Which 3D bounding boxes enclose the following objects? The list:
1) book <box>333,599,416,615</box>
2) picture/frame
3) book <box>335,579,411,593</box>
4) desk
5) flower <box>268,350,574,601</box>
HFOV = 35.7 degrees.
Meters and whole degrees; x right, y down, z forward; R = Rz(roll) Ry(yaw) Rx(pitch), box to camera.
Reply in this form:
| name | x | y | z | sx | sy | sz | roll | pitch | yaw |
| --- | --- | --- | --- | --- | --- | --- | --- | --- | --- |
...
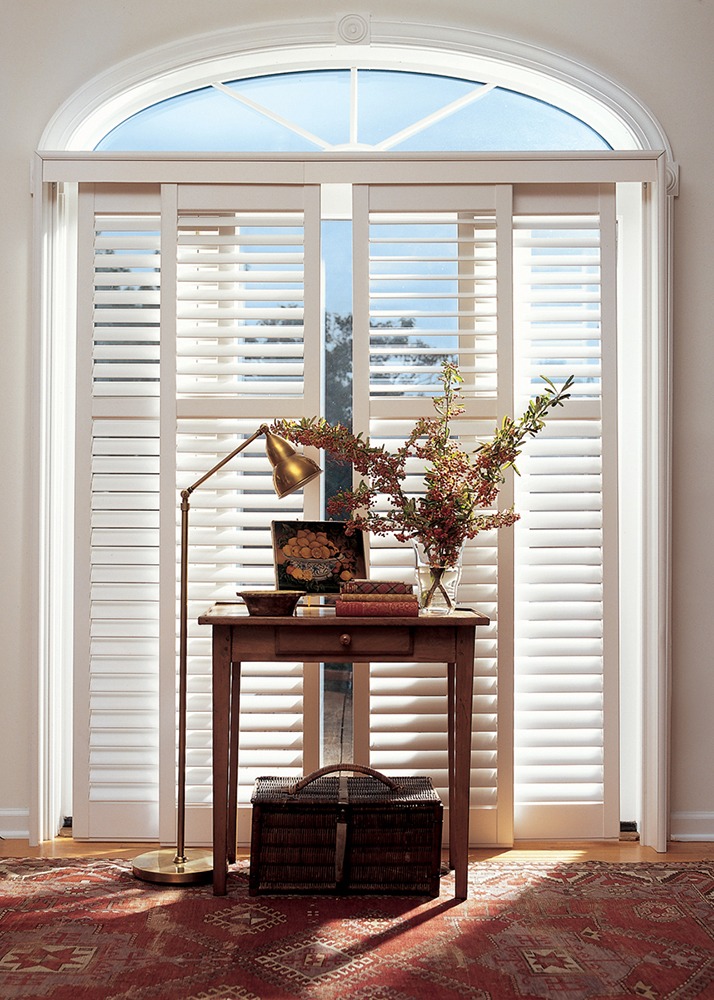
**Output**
| name | x | y | z | sx | sy | sz | roll | pitch | yaw |
| --- | --- | --- | --- | --- | --- | --- | --- | --- | --- |
| book | 0.047 | 0.280 | 2.942 | 0.211 | 0.038 | 0.039 | 0 | 3 | -4 |
| picture/frame | -0.110 | 0.163 | 3.175 | 0.232 | 0.194 | 0.024 | 0 | -14 | -2 |
| book | 0.047 | 0.227 | 3.058 | 0.191 | 0.031 | 0.168 | 0 | 3 | -2 |
| desk | -0.014 | 0.734 | 3.223 | 1.033 | 1.023 | 0.690 | 0 | -7 | 0 |
| flower | 0.195 | -0.060 | 3.309 | 0.718 | 0.727 | 0.381 | 1 | -8 | 0 |
